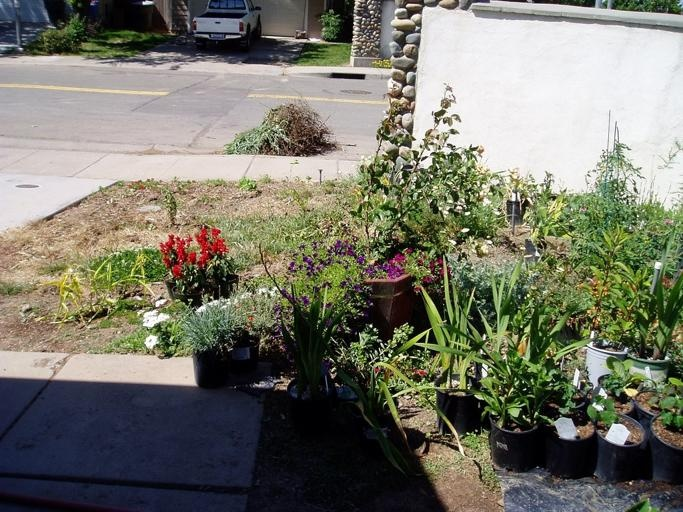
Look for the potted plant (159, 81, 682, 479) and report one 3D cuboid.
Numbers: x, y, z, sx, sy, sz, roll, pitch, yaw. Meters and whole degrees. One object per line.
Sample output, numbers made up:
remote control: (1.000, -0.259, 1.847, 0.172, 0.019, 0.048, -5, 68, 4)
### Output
potted plant: (0.847, -0.073, 3.881, 3.674, 1.949, 2.672, -19, 30, -36)
